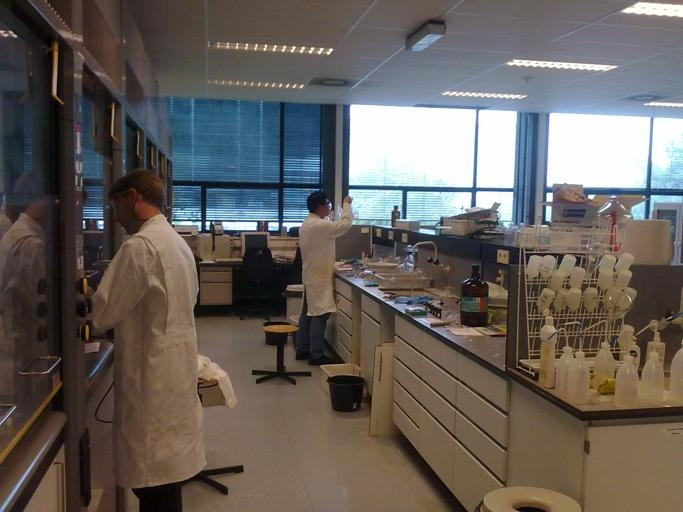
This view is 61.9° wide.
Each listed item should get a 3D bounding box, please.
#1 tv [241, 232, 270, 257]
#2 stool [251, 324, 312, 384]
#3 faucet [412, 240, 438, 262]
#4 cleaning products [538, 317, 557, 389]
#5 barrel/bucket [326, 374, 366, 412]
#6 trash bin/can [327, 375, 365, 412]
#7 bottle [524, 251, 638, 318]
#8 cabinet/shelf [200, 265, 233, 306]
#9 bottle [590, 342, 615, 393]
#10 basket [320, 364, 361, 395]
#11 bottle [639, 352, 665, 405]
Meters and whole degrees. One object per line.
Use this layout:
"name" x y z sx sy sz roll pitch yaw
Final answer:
"tv" -1.077 -0.121 7.105 0.351 0.301 0.639 0 8 -8
"stool" -0.565 0.819 4.776 0.421 0.409 0.430 -8 7 -25
"faucet" 0.636 -0.035 4.607 0.230 0.230 0.150 2 0 -6
"cleaning products" 0.842 0.386 2.326 0.069 0.289 0.097 4 8 20
"barrel/bucket" 0.036 0.986 4.111 0.239 0.173 0.251 -1 -1 0
"trash bin/can" 0.029 0.985 4.127 0.236 0.173 0.252 0 -3 -23
"bottle" 1.012 0.124 2.405 0.436 0.291 0.293 -3 9 -30
"cabinet/shelf" -1.557 0.364 7.073 0.460 0.679 0.449 0 0 -11
"bottle" 1.068 0.445 2.310 0.085 0.193 0.096 4 8 20
"basket" -0.007 0.960 4.458 0.264 0.131 0.211 1 -1 -14
"bottle" 1.229 0.463 2.250 0.085 0.197 0.127 6 9 30
